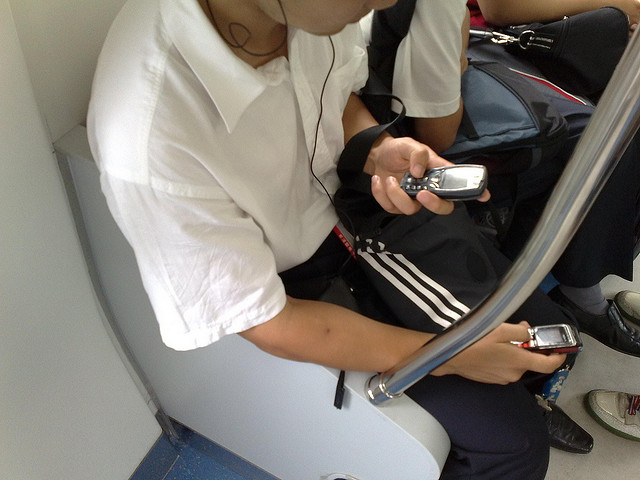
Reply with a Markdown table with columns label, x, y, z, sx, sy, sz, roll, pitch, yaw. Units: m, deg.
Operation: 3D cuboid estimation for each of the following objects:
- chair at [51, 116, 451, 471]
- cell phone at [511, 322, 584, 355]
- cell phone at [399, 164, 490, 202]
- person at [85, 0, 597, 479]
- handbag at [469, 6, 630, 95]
| label | x | y | z | sx | sy | sz | roll | pitch | yaw |
| --- | --- | --- | --- | --- | --- | --- | --- | --- | --- |
| chair | -0.044 | -0.123 | 1.423 | 0.816 | 1.165 | 0.775 | 7 | 45 | 16 |
| cell phone | 0.492 | 0.220 | 1.033 | 0.139 | 0.046 | 0.087 | -10 | 69 | 36 |
| cell phone | 0.241 | -0.103 | 0.904 | 0.147 | 0.037 | 0.083 | -4 | 55 | 36 |
| person | 0.012 | 0.028 | 1.036 | 0.700 | 1.034 | 0.642 | 13 | 70 | 14 |
| handbag | 0.747 | -0.628 | 1.562 | 0.467 | 0.238 | 0.131 | 11 | 42 | 18 |
